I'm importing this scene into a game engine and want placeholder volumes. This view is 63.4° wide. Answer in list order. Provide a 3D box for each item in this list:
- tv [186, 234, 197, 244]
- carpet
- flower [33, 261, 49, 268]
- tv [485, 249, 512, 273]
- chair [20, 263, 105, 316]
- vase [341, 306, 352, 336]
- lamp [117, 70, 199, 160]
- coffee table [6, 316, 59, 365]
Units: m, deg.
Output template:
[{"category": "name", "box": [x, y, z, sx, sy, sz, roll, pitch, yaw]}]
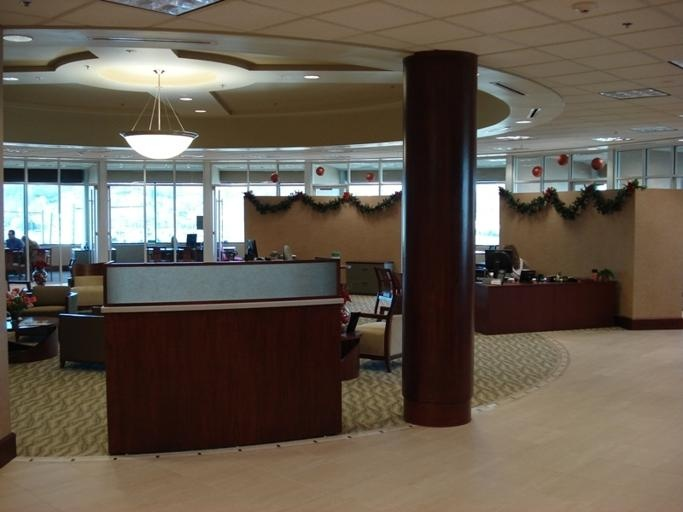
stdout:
[{"category": "tv", "box": [-5.105, -0.581, 18.882, 0.297, 0.330, 0.077, 3, -1, -7]}, {"category": "carpet", "box": [-0.057, 1.674, 8.382, 8.972, 0.187, 4.656, -3, 7, -25]}, {"category": "flower", "box": [-5.800, 0.183, 10.700, 0.277, 0.128, 0.291, 0, -7, -7]}, {"category": "tv", "box": [3.200, 0.114, 11.258, 0.449, 0.461, 0.150, 4, 6, 31]}, {"category": "chair", "box": [-5.752, 0.677, 11.366, 0.924, 1.410, 1.283, 0, -5, -5]}, {"category": "vase", "box": [0.064, 0.871, 7.520, 0.116, 0.412, 0.143, 1, -13, 4]}, {"category": "lamp", "box": [-3.150, -2.516, 9.684, 1.174, 1.419, 1.199, 4, 10, 14]}, {"category": "coffee table", "box": [-4.923, 1.335, 8.718, 0.846, 0.421, 0.861, 5, 5, 19]}]
